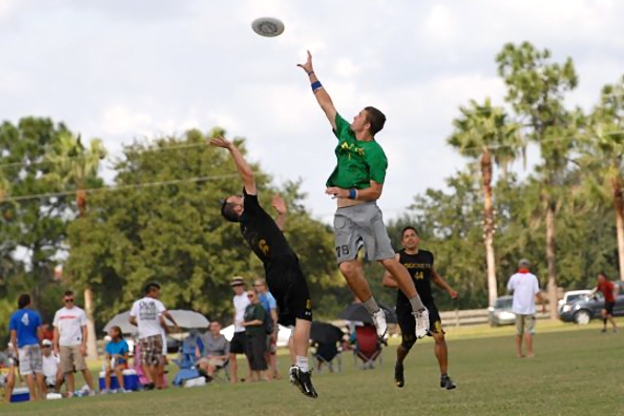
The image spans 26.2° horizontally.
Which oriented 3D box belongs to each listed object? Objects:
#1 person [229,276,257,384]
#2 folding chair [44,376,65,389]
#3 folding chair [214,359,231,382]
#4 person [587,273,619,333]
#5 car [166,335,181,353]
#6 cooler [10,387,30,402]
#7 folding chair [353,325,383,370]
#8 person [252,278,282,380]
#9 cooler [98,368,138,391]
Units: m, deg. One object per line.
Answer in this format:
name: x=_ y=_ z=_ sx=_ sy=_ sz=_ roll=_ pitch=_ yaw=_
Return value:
person: x=-2.321 y=3.834 z=43.584 sx=1.006 sy=3.201 sz=0.984 roll=-6 pitch=-1 yaw=-19
folding chair: x=-8.481 y=5.623 z=43.994 sx=0.536 sy=0.153 sz=0.530 roll=11 pitch=-22 yaw=-43
folding chair: x=-2.995 y=5.261 z=44.619 sx=0.543 sy=0.817 sz=0.541 roll=7 pitch=-16 yaw=-22
person: x=10.127 y=3.131 z=45.843 sx=0.750 sy=2.051 sz=1.254 roll=-4 pitch=-8 yaw=-13
car: x=-6.489 y=6.248 z=62.918 sx=0.588 sy=0.781 sz=2.198 roll=-5 pitch=-9 yaw=-7
cooler: x=-9.235 y=5.749 z=42.387 sx=0.628 sy=0.426 sz=0.697 roll=-5 pitch=-8 yaw=-11
folding chair: x=1.978 y=4.558 z=45.401 sx=0.911 sy=1.818 sz=1.098 roll=0 pitch=15 yaw=14
person: x=-1.439 y=3.803 z=43.687 sx=0.949 sy=3.093 sz=0.918 roll=0 pitch=0 yaw=7
cooler: x=-6.258 y=5.437 z=43.325 sx=1.253 sy=0.725 sz=0.822 roll=-5 pitch=-8 yaw=-9
